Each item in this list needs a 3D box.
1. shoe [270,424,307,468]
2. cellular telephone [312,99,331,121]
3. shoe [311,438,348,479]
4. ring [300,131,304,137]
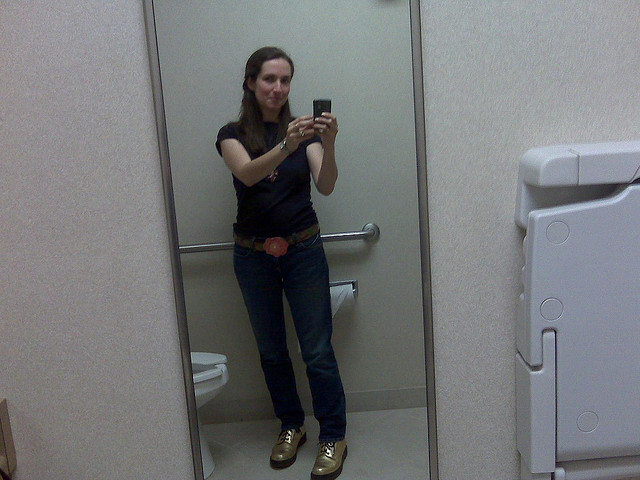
[{"bbox_3d":[-0.086,0.569,1.587,0.063,0.081,0.175,2,11,20],"label":"shoe"},{"bbox_3d":[0.004,-0.346,1.485,0.049,0.094,0.012,0,12,-5],"label":"cellular telephone"},{"bbox_3d":[0.027,0.612,1.558,0.057,0.070,0.151,0,1,15],"label":"shoe"},{"bbox_3d":[-0.045,-0.281,1.492,0.007,0.011,0.002,-6,3,-11],"label":"ring"}]
